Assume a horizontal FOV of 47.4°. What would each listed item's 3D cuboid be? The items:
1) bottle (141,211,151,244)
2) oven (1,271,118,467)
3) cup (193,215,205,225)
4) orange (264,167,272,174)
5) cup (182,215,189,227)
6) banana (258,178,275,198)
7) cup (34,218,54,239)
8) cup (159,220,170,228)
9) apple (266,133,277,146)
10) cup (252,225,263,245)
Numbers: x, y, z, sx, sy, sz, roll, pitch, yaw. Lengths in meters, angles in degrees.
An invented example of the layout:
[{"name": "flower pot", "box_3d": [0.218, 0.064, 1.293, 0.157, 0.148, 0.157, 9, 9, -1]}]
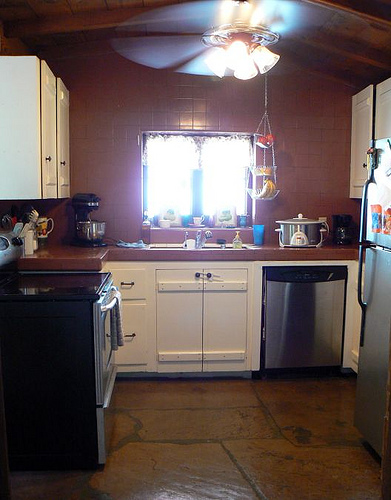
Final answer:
[{"name": "bottle", "box_3d": [-0.410, -0.189, 3.712, 0.071, 0.265, 0.068, 0, 5, 0]}, {"name": "oven", "box_3d": [-0.655, 0.604, 2.182, 0.549, 0.868, 0.471, -1, 5, -10]}, {"name": "cup", "box_3d": [0.025, -0.258, 3.781, 0.088, 0.081, 0.064, 2, 12, 3]}, {"name": "orange", "box_3d": [0.584, -0.643, 3.574, 0.048, 0.044, 0.047, -2, 4, -6]}, {"name": "cup", "box_3d": [-0.084, -0.260, 3.891, 0.072, 0.127, 0.071, 1, 5, 0]}, {"name": "banana", "box_3d": [0.571, -0.496, 3.534, 0.045, 0.135, 0.104, 9, 16, 35]}, {"name": "cup", "box_3d": [-1.194, -0.175, 3.523, 0.131, 0.160, 0.291, -1, 5, -14]}, {"name": "cup", "box_3d": [-0.260, -0.225, 3.751, 0.100, 0.064, 0.054, 2, 16, 2]}, {"name": "apple", "box_3d": [0.616, -0.887, 3.615, 0.106, 0.102, 0.038, -12, 6, -24]}, {"name": "cup", "box_3d": [0.517, -0.130, 3.698, 0.082, 0.162, 0.134, 1, 5, 8]}]
